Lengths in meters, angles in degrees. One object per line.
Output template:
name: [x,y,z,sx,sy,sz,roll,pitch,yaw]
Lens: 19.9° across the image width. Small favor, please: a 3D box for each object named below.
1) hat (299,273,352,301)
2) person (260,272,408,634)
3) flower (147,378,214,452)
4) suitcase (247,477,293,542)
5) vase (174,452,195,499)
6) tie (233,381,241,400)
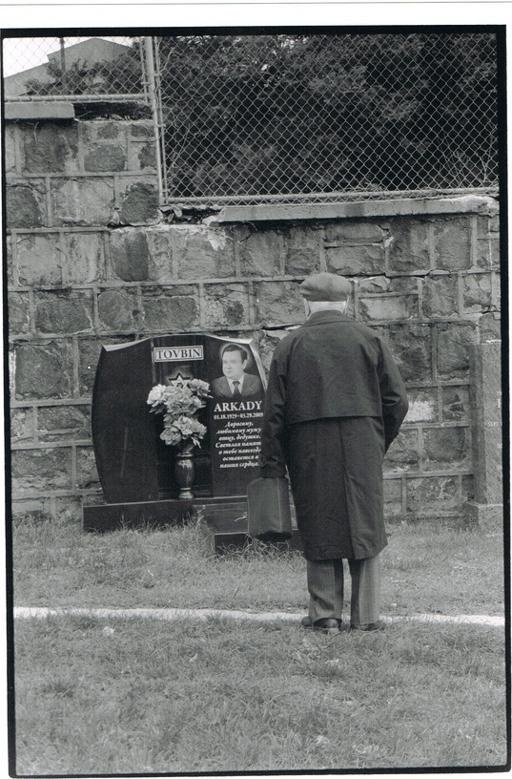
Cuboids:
hat: [0.368,-0.536,7.754,0.259,0.135,0.331,1,12,4]
person: [0.383,0.420,7.486,0.700,1.578,0.503,4,13,12]
flower: [-0.467,0.173,9.334,0.458,0.477,0.400,-7,-18,21]
suitcase: [0.069,0.627,7.560,0.209,0.339,0.181,-14,-31,20]
vase: [-0.455,0.548,9.270,0.118,0.283,0.260,1,13,-3]
tie: [-0.124,0.008,9.390,0.045,0.112,0.039,1,13,-3]
